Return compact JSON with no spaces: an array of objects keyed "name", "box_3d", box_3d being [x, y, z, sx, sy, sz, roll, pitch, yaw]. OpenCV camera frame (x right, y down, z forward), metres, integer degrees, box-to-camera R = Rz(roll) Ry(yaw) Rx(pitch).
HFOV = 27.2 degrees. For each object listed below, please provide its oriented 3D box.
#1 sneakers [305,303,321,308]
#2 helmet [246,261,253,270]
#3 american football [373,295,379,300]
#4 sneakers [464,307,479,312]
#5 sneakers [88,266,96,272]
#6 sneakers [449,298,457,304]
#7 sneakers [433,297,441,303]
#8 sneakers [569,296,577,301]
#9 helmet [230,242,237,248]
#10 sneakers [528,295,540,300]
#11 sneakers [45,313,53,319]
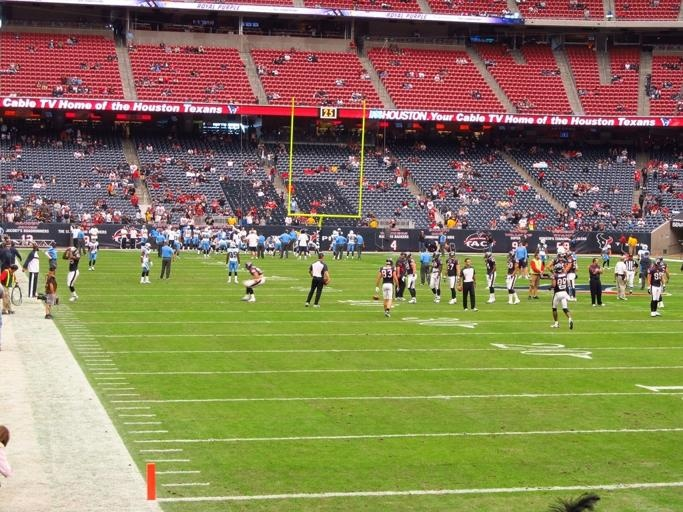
[{"name":"sneakers","box_3d":[-0.999,1.710,49.422,0.582,0.226,0.158,-9,41,17]},{"name":"helmet","box_3d":[-3.457,0.350,53.238,0.331,0.308,0.303,-4,10,-22]},{"name":"american football","box_3d":[1.198,1.400,47.853,0.157,0.093,0.146,2,2,14]},{"name":"sneakers","box_3d":[4.656,1.865,49.779,0.499,0.161,0.153,4,-3,-6]},{"name":"sneakers","box_3d":[-10.645,0.502,60.009,0.176,0.193,0.507,-3,-7,-28]},{"name":"sneakers","box_3d":[4.118,1.653,51.491,0.134,0.241,0.390,-6,-5,45]},{"name":"sneakers","box_3d":[3.604,1.606,52.006,0.257,0.210,0.180,-7,14,-29]},{"name":"sneakers","box_3d":[8.755,1.603,52.908,0.228,0.235,0.621,-1,-7,7]},{"name":"helmet","box_3d":[-4.284,-0.443,56.305,0.280,0.119,0.331,0,2,-4]},{"name":"sneakers","box_3d":[7.312,1.546,53.086,0.422,0.138,0.130,0,4,-2]},{"name":"sneakers","box_3d":[-9.386,1.877,45.203,0.245,0.211,0.471,0,10,-13]}]
